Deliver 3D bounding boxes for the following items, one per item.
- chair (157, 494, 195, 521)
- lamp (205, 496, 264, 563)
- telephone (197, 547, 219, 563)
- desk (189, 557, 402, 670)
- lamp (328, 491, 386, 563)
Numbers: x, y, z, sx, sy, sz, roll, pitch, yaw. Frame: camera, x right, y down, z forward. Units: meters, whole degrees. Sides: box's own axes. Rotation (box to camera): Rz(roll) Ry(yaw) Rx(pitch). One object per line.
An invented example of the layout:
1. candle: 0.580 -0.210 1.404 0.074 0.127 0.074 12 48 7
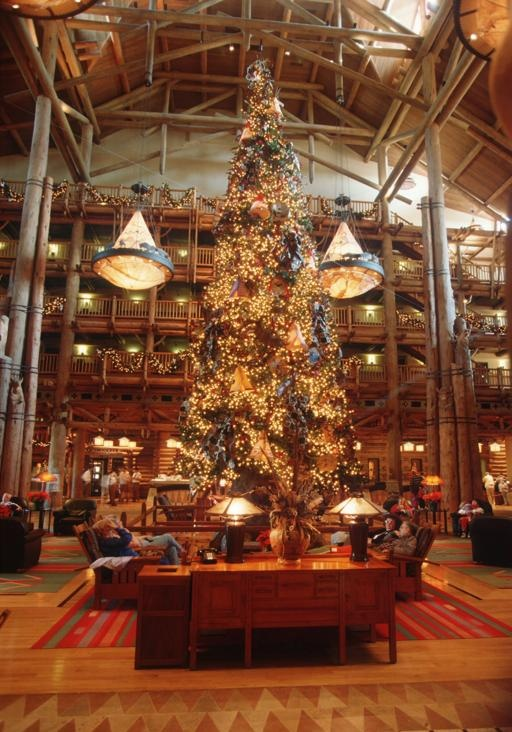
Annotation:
1. chair: -1.426 2.571 10.864 0.619 0.629 0.480 -1 -7 -4
2. lamp: -0.190 1.313 4.930 0.404 0.500 0.523 2 -8 -7
3. telephone: -0.385 1.541 4.916 0.141 0.073 0.192 3 -8 -5
4. desk: 0.272 1.905 4.752 1.564 0.727 0.610 2 -8 -6
5. lamp: 0.830 1.321 4.923 0.488 0.546 0.473 3 -12 -11
